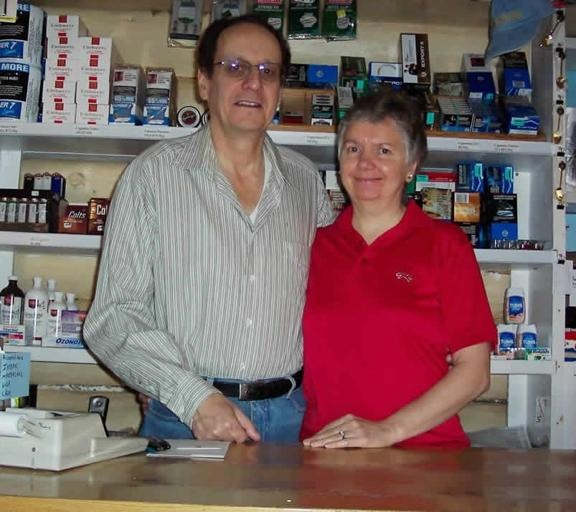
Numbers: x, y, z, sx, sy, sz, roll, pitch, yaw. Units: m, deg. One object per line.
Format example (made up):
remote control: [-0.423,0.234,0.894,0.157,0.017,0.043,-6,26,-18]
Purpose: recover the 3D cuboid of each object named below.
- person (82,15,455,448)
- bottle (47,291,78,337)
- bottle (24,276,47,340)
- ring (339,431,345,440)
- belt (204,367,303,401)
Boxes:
person: [-0.242,-0.123,1.837,0.626,1.365,0.572,2,-6,13]
bottle: [-0.998,0.252,2.525,0.117,0.192,0.165,5,-5,-21]
bottle: [-1.110,0.236,2.518,0.096,0.288,0.116,5,-6,-22]
ring: [0.140,0.464,1.488,0.012,0.013,0.014,-7,38,1]
belt: [-0.072,0.384,1.725,0.315,0.075,0.076,5,-6,-38]
